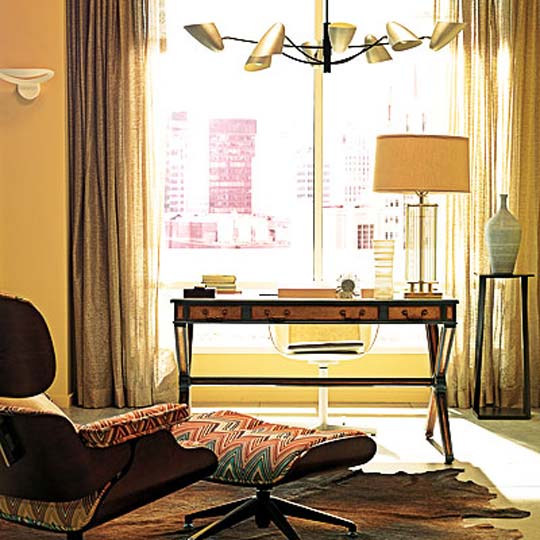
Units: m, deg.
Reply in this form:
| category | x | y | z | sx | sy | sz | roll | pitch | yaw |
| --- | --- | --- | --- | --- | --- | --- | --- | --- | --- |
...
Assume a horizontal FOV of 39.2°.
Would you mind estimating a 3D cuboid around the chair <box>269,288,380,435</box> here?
| category | x | y | z | sx | sy | sz | roll | pitch | yaw |
| --- | --- | --- | --- | --- | --- | --- | --- | --- | --- |
| chair | 0.264 | 0.492 | 4.149 | 0.507 | 0.766 | 0.505 | 2 | -8 | -29 |

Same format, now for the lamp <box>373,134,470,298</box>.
| category | x | y | z | sx | sy | sz | roll | pitch | yaw |
| --- | --- | --- | --- | --- | --- | --- | --- | --- | --- |
| lamp | 0.734 | -0.250 | 3.660 | 0.440 | 0.692 | 0.423 | -2 | -1 | 5 |

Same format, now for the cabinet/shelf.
| category | x | y | z | sx | sy | sz | roll | pitch | yaw |
| --- | --- | --- | --- | --- | --- | --- | --- | --- | --- |
| cabinet/shelf | 1.387 | 0.426 | 4.496 | 0.337 | 0.848 | 0.409 | 2 | 6 | 19 |

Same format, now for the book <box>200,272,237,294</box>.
| category | x | y | z | sx | sy | sz | roll | pitch | yaw |
| --- | --- | --- | --- | --- | --- | --- | --- | --- | --- |
| book | -0.273 | 0.071 | 4.008 | 0.193 | 0.098 | 0.181 | -2 | 6 | -25 |

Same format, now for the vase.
| category | x | y | z | sx | sy | sz | roll | pitch | yaw |
| --- | --- | --- | --- | --- | --- | --- | --- | --- | --- |
| vase | 1.336 | -0.203 | 4.312 | 0.186 | 0.456 | 0.127 | 0 | 6 | 1 |
